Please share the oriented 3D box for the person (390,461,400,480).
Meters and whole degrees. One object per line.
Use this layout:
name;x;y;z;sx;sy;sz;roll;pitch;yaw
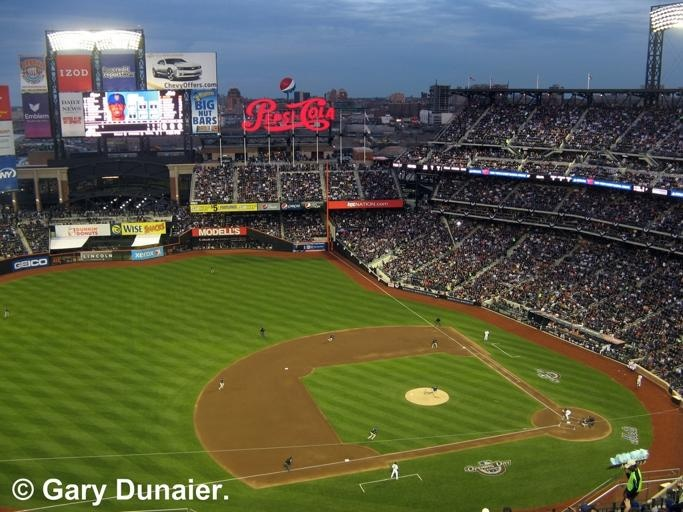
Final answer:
person;3.687;14.651;47.988;0.553;0.972;0.297;9;1;18
